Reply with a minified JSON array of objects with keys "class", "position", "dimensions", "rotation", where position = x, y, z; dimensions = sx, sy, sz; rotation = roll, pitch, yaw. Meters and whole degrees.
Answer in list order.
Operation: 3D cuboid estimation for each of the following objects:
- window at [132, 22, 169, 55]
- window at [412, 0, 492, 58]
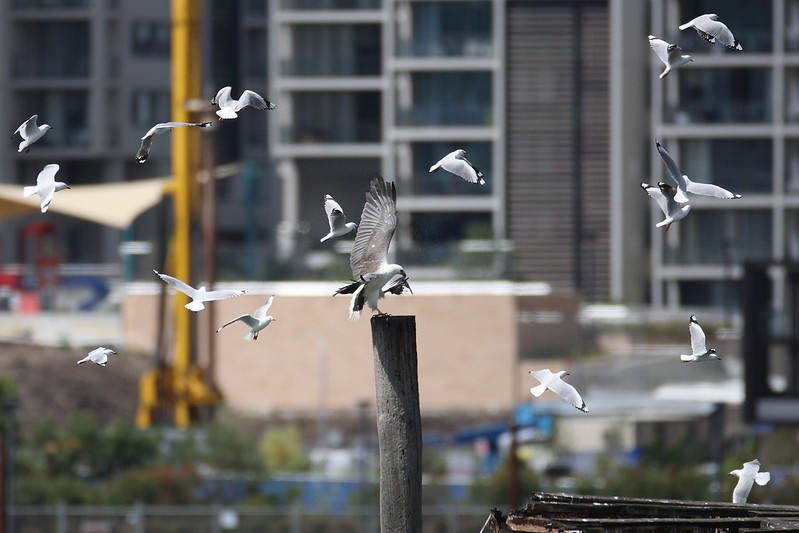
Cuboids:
[{"class":"window","position":[-6.953,-6.182,69.398],"dimensions":[1.153,1.109,0.250],"rotation":[0,-15,-9]},{"class":"window","position":[1.183,-4.922,52.518],"dimensions":[1.194,0.883,0.056],"rotation":[1,0,6]}]
